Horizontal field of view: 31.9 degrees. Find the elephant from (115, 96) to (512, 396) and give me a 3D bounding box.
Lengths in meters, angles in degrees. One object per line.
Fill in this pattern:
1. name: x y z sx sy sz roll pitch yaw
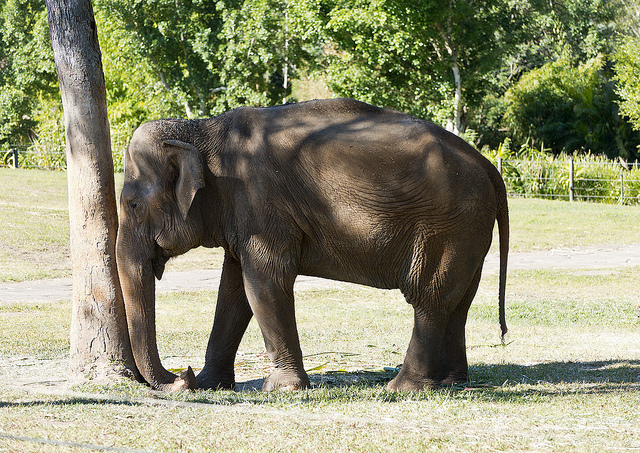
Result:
1. elephant: -0.117 0.433 15.060 5.521 3.727 1.946 -1 2 10
